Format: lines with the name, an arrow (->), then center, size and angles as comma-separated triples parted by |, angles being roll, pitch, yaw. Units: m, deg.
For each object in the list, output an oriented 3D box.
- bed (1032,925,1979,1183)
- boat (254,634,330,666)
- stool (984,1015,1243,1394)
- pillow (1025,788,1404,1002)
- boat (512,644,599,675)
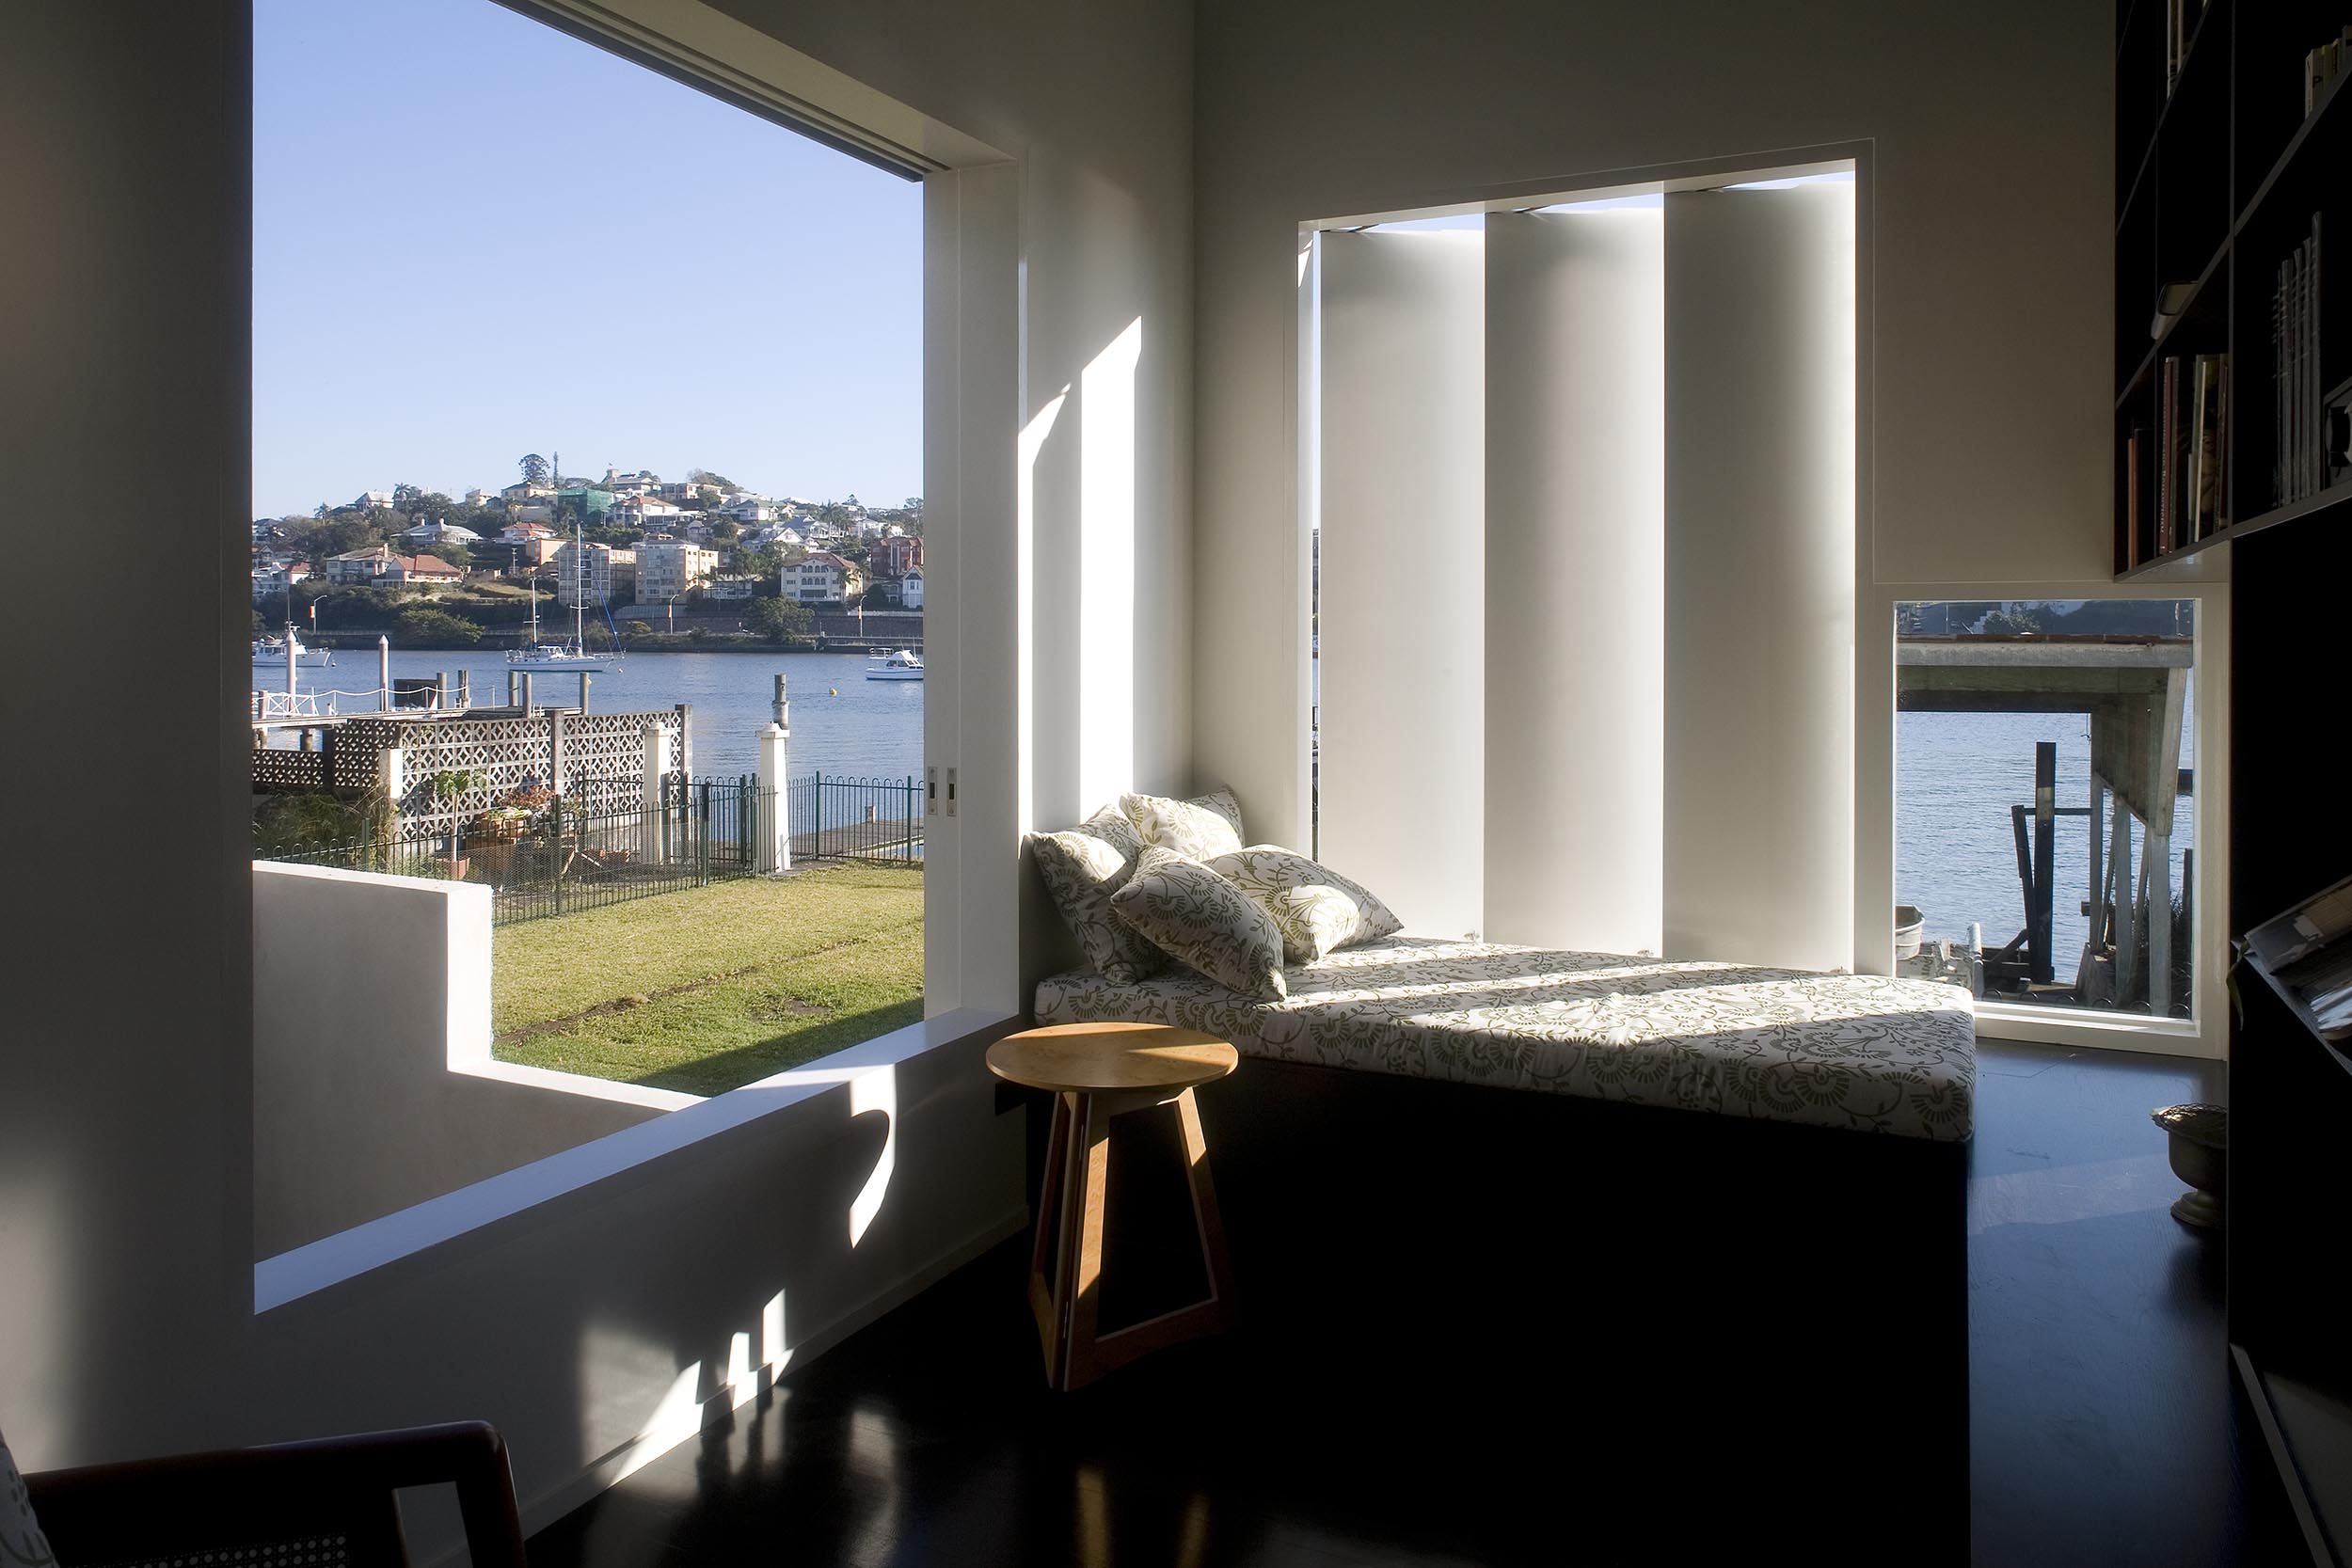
bed -> 0.893, 0.636, 4.763 | 2.073, 0.148, 0.952 | 1, 3, 26
boat -> -4.687, -0.717, 9.397 | 0.456, 0.126, 0.247 | 0, 14, 6
stool -> -0.168, 1.022, 4.588 | 0.596, 0.755, 0.617 | -9, 15, -27
pillow -> 0.055, 0.322, 5.193 | 0.575, 0.320, 0.857 | 4, 4, 26
boat -> -3.489, -0.698, 9.890 | 0.449, 0.112, 0.144 | -3, 5, -17
